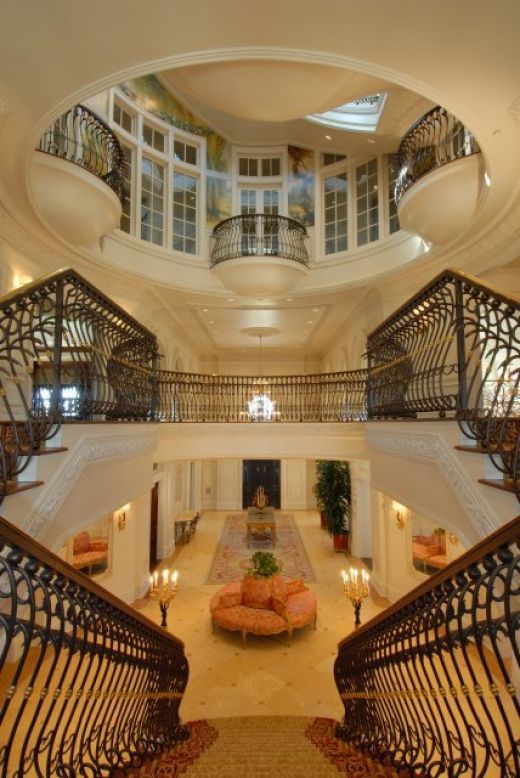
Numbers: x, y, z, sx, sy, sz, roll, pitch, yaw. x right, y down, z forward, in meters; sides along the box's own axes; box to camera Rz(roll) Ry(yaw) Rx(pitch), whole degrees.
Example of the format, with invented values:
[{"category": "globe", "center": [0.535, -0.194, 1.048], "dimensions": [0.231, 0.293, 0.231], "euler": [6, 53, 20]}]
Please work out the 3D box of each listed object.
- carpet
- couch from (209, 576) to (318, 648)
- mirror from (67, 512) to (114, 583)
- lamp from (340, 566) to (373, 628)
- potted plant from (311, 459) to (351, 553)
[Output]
[{"category": "carpet", "center": [0.018, 4.572, 14.595], "dimensions": [2.600, 0.222, 6.997], "euler": [0, -4, 0]}, {"category": "couch", "center": [0.047, 3.826, 8.577], "dimensions": [1.799, 0.854, 1.294], "euler": [0, -4, -3]}, {"category": "mirror", "center": [-3.556, 3.092, 10.511], "dimensions": [0.750, 1.293, 4.120], "euler": [1, -4, -17]}, {"category": "lamp", "center": [1.513, 3.273, 7.690], "dimensions": [0.352, 0.925, 0.372], "euler": [-8, 9, -26]}, {"category": "potted plant", "center": [2.120, 3.135, 14.248], "dimensions": [0.811, 2.828, 1.013], "euler": [5, -3, -1]}]
